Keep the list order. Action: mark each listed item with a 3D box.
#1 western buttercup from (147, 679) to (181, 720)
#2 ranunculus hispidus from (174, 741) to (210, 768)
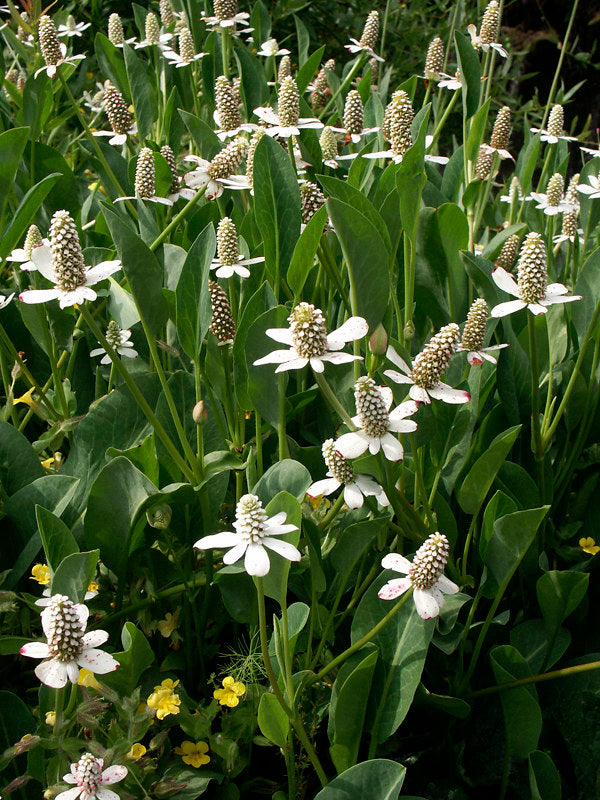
[{"bbox_3d":[-0.151,0.333,0.879,0.039,0.022,0.049,-2,49,-3],"label":"western buttercup"},{"bbox_3d":[-0.123,0.408,0.911,0.037,0.017,0.037,-2,28,-8],"label":"ranunculus hispidus"}]
